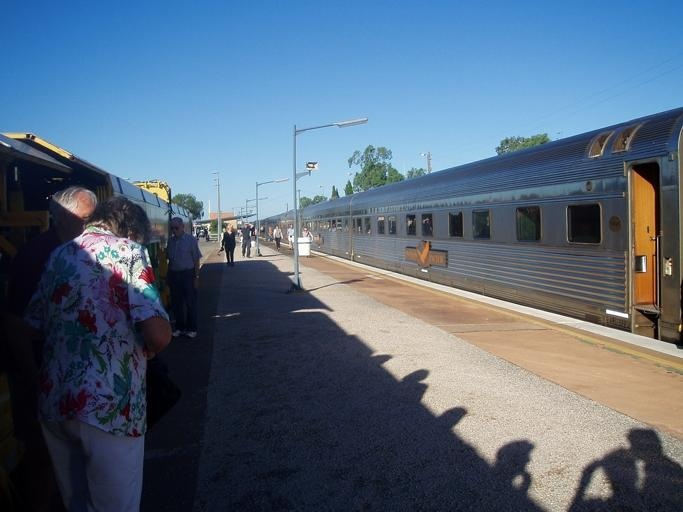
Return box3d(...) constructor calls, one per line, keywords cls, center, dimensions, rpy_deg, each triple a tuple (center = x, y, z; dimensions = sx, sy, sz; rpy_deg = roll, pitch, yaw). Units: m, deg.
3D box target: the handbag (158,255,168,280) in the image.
box3d(cls="handbag", center=(-3.882, 0.249, 9.910), dimensions=(0.107, 0.519, 0.320), rpy_deg=(5, -2, -30))
